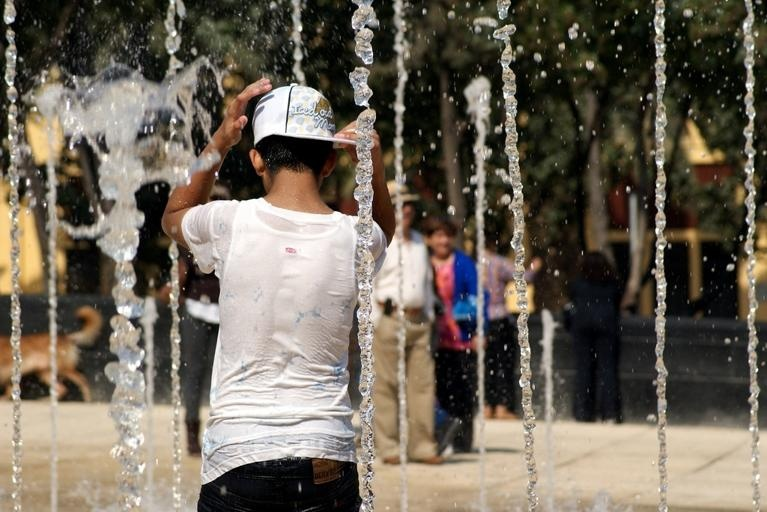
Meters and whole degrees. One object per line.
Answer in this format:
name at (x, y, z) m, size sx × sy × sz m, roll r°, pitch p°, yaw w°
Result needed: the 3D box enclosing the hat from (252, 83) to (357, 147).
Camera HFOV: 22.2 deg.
hat at (-0.773, -1.276, 17.340) m, size 0.679 × 0.405 × 0.450 m, roll 2°, pitch 4°, yaw 34°
